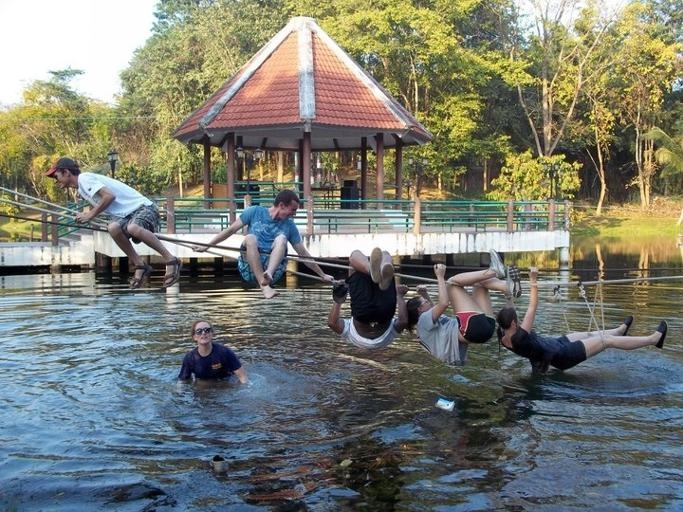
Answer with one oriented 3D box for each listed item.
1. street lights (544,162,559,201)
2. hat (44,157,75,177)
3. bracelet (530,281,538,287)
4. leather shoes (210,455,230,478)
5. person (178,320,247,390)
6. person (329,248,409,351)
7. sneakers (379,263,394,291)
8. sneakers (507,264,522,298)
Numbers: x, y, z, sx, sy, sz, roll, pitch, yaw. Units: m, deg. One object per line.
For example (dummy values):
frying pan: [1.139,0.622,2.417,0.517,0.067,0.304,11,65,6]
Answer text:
street lights: [11.623,-4.098,40.964,0.671,1.872,0.844,1,12,6]
hat: [-4.568,-1.450,12.127,0.494,0.267,0.307,1,1,-9]
bracelet: [3.342,0.476,12.930,0.178,0.122,0.172,1,0,6]
leather shoes: [-1.704,2.924,10.458,0.190,0.161,0.257,-1,-6,-5]
person: [-2.249,1.683,12.982,1.257,1.171,0.711,-1,1,2]
person: [0.502,0.706,12.616,1.068,1.952,1.088,5,28,-1]
sneakers: [0.723,0.325,11.868,0.160,0.444,0.178,3,28,-6]
sneakers: [2.899,0.416,12.399,0.215,0.542,0.255,1,-5,-3]
